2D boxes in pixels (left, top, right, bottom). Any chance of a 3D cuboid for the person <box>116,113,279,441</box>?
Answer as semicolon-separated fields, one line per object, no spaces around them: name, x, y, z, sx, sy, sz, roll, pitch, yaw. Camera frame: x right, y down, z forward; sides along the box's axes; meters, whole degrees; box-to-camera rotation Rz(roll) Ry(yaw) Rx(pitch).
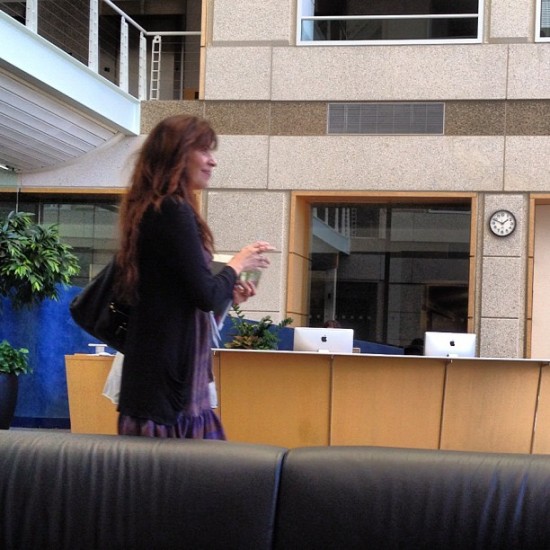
person;-0.261;0.200;2.969;0.539;1.416;0.474;3;19;-3

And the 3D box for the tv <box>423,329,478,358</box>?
tv;1.073;0.431;5.509;0.315;0.205;0.154;3;-18;2
